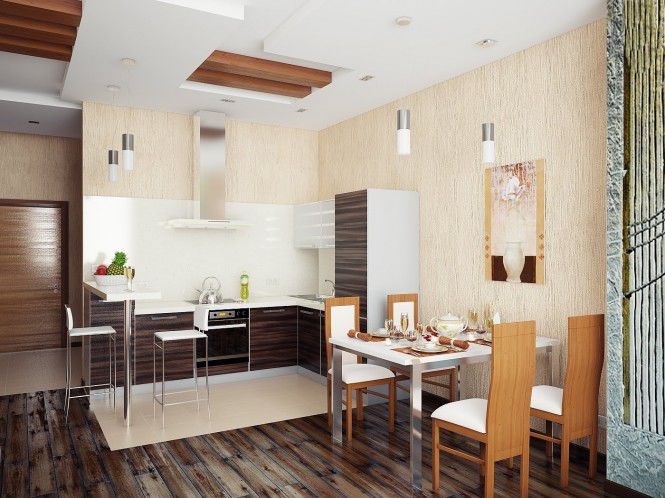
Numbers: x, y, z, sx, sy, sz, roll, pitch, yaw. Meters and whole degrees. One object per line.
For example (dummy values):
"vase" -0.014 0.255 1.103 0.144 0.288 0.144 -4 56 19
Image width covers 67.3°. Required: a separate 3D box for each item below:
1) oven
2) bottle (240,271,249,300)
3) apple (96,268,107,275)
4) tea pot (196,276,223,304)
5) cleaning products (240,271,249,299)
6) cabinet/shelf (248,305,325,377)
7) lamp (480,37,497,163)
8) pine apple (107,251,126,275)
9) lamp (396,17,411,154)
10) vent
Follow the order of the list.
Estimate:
"oven" -1.475 1.128 6.643 0.696 0.849 0.642 -1 4 -35
"bottle" -1.288 0.523 7.280 0.126 0.363 0.238 -1 5 -10
"apple" -2.665 0.246 5.765 0.115 0.077 0.166 -2 5 -29
"tea pot" -1.664 0.563 6.817 0.293 0.347 0.395 2 -3 -22
"cleaning products" -1.288 0.523 7.280 0.126 0.363 0.238 -1 5 -10
"cabinet/shelf" -0.628 1.203 6.705 0.865 0.832 0.878 3 -5 -26
"lamp" 1.563 -1.450 5.051 0.178 1.159 0.557 2 5 18
"pine apple" -2.536 0.162 5.876 0.190 0.244 0.350 -1 5 -12
"lamp" 0.621 -1.453 4.464 0.123 1.193 0.227 0 5 5
"vent" -1.692 -1.006 7.064 0.986 1.313 0.714 -1 3 -15
